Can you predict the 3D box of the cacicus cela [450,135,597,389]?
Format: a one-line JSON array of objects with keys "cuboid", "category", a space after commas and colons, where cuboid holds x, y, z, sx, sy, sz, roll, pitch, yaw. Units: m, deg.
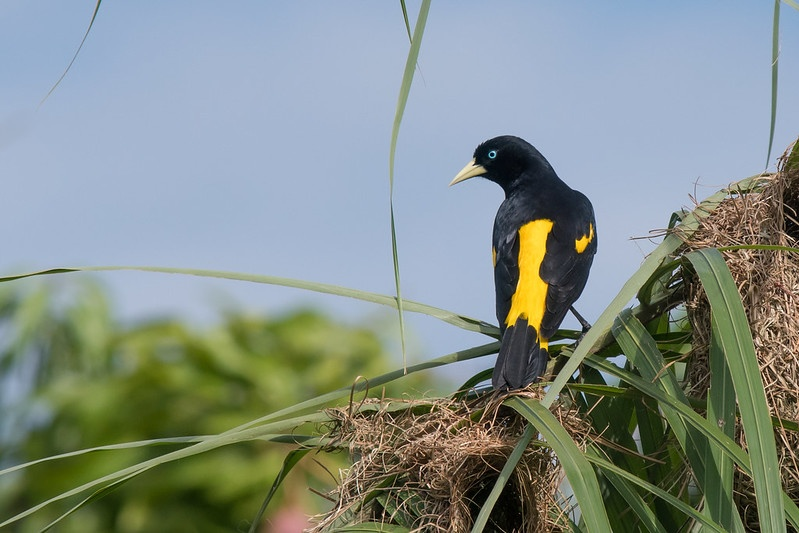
[{"cuboid": [0.649, -0.026, 5.208, 0.523, 1.552, 1.046, -2, -77, 11], "category": "cacicus cela"}]
